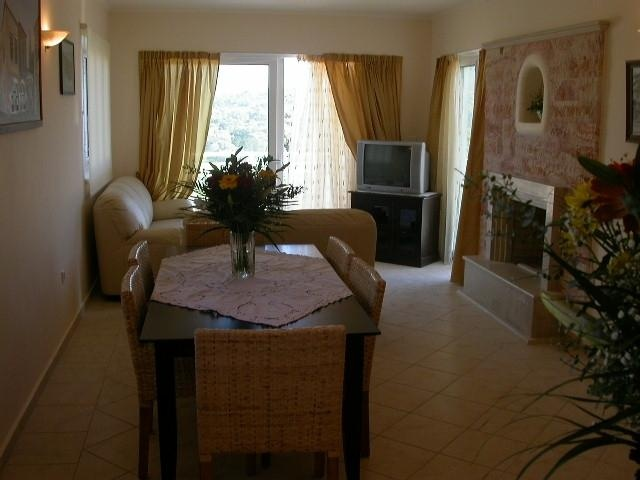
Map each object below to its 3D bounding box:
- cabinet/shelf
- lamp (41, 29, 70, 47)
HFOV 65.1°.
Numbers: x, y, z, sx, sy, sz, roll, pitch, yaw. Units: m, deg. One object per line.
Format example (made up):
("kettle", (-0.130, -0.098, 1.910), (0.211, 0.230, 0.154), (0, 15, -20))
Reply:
("cabinet/shelf", (1.021, -0.262, 6.917), (1.429, 1.447, 0.804), (4, 7, 27))
("lamp", (-1.896, -1.439, 3.612), (0.179, 0.101, 0.196), (-5, 14, -20))
